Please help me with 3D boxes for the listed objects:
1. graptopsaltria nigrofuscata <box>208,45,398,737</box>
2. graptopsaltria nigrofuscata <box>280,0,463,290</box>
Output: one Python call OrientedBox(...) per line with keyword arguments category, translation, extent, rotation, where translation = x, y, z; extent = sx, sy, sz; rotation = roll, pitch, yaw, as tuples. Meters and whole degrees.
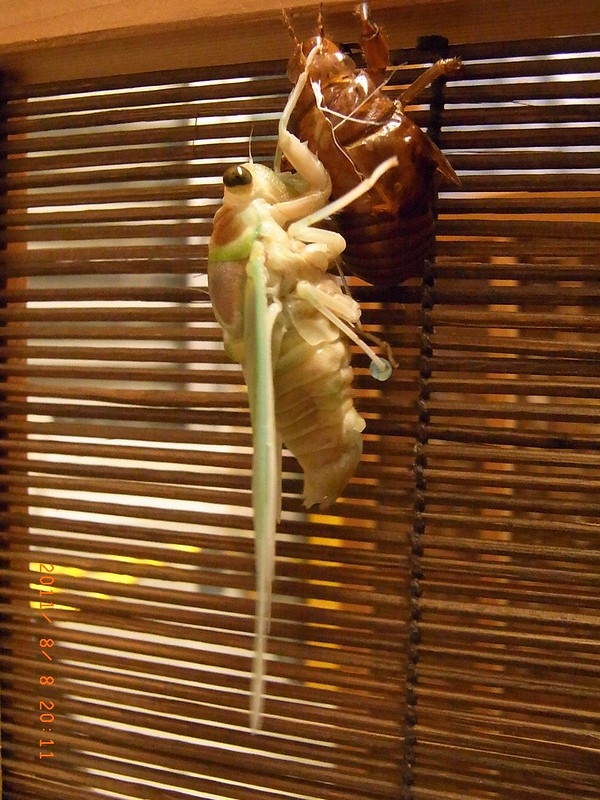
OrientedBox(category="graptopsaltria nigrofuscata", translation=(0.014, 0.010, 0.722), extent=(0.235, 0.576, 0.194), rotation=(4, 17, 14))
OrientedBox(category="graptopsaltria nigrofuscata", translation=(0.074, -0.238, 0.743), extent=(0.081, 0.235, 0.201), rotation=(-21, 8, -40))
